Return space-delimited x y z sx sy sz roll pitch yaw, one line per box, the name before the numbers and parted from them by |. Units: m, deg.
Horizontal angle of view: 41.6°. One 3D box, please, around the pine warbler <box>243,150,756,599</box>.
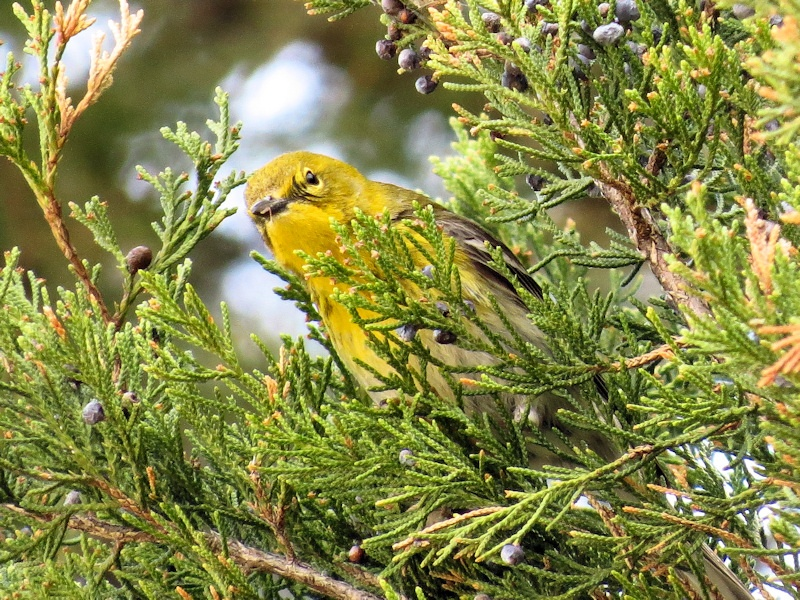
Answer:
pine warbler | 0.978 0.404 6.559 4.120 1.304 1.806 16 50 -12
